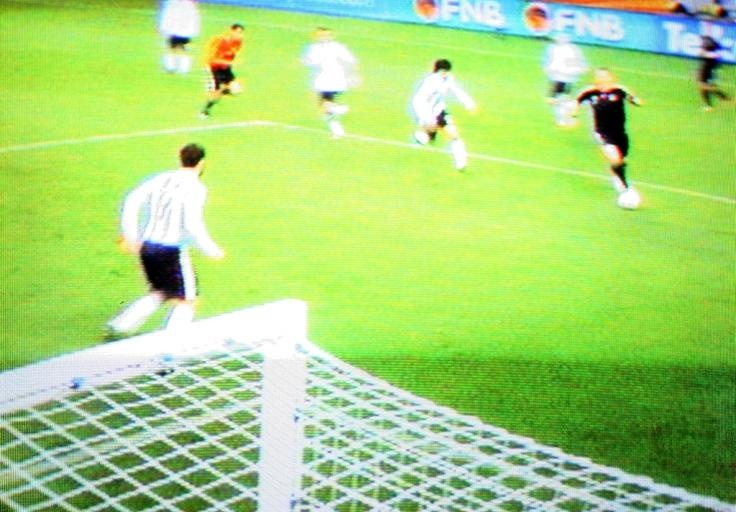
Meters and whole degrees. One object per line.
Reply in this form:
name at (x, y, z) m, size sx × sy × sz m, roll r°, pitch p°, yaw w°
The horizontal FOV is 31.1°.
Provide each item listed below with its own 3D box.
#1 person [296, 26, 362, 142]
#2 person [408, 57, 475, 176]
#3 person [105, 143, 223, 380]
person at (-0.254, -1.415, 10.730) m, size 0.342 × 0.868 × 0.320 m, roll 11°, pitch 17°, yaw 39°
person at (0.610, -1.163, 10.782) m, size 0.479 × 0.767 × 0.226 m, roll 5°, pitch 14°, yaw 18°
person at (-1.564, -0.061, 10.221) m, size 0.888 × 1.458 × 0.652 m, roll -3°, pitch 13°, yaw -15°
